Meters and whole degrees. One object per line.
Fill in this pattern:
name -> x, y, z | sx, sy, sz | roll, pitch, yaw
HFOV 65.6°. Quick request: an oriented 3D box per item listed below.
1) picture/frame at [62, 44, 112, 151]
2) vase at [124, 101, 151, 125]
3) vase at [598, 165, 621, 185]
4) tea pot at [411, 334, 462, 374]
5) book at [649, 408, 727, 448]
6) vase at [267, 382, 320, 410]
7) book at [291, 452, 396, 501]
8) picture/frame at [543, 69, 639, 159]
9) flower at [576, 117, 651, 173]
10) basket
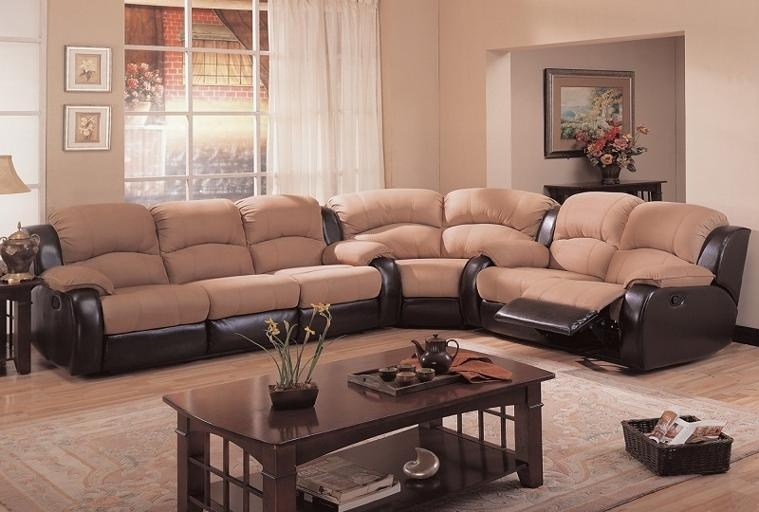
picture/frame -> -2.732, -1.472, 5.524 | 0.501, 0.947, 0.269 | -6, 17, -18
vase -> -3.019, -1.793, 7.396 | 0.308, 0.295, 0.280 | -2, 14, -9
vase -> 2.980, -1.040, 7.635 | 0.315, 0.273, 0.296 | -3, 4, -22
tea pot -> 0.310, 0.511, 3.127 | 0.280, 0.176, 0.184 | -3, 6, 21
book -> 1.670, 0.922, 3.193 | 0.288, 0.078, 0.210 | -5, 9, -26
vase -> -0.379, 0.629, 2.675 | 0.196, 0.062, 0.116 | -1, 3, -15
book -> -0.190, 0.988, 2.638 | 0.209, 0.046, 0.204 | 7, 8, 43
picture/frame -> 2.734, -1.863, 7.737 | 1.706, 0.956, 0.069 | -3, 3, -31
flower -> 3.154, -1.479, 7.779 | 0.825, 0.439, 0.719 | 32, 51, 31
basket -> 1.658, 1.052, 3.331 | 0.453, 0.148, 0.484 | -3, 2, 0
